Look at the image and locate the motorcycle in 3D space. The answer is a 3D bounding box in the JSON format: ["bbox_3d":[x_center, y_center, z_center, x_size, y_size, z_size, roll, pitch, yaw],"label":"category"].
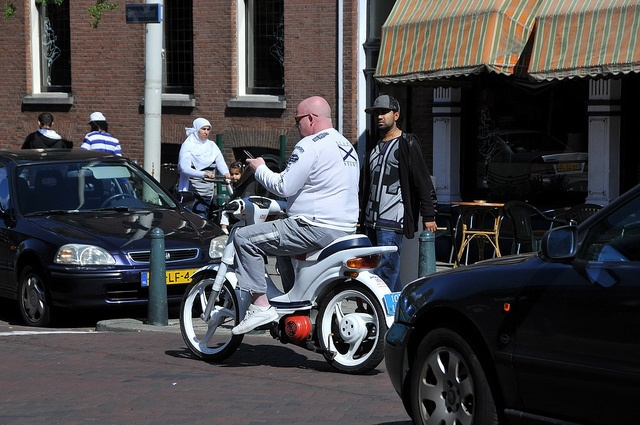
[{"bbox_3d":[-0.438,0.832,7.155,2.382,1.747,1.196,2,-1,25],"label":"motorcycle"}]

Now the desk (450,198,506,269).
[{"bbox_3d":[2.686,0.335,12.543,1.122,1.457,1.248,0,-5,3],"label":"desk"}]

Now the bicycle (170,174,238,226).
[{"bbox_3d":[-1.862,-0.219,11.913,0.987,0.713,0.633,5,5,36],"label":"bicycle"}]

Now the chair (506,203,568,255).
[{"bbox_3d":[3.190,0.467,11.298,0.752,1.010,0.733,15,-20,-42],"label":"chair"}]

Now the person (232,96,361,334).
[{"bbox_3d":[-0.216,0.027,6.937,1.226,2.295,0.343,-1,3,-12],"label":"person"}]

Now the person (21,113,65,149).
[{"bbox_3d":[-5.119,-1.545,13.519,0.654,0.714,1.250,-2,4,-31],"label":"person"}]
